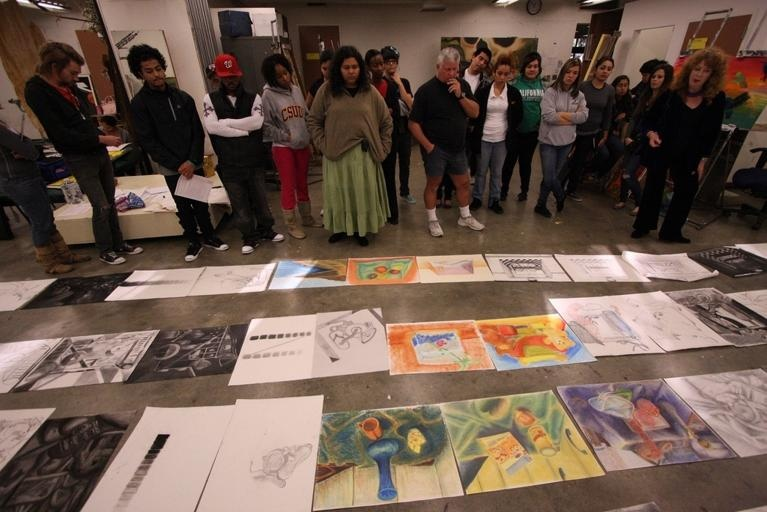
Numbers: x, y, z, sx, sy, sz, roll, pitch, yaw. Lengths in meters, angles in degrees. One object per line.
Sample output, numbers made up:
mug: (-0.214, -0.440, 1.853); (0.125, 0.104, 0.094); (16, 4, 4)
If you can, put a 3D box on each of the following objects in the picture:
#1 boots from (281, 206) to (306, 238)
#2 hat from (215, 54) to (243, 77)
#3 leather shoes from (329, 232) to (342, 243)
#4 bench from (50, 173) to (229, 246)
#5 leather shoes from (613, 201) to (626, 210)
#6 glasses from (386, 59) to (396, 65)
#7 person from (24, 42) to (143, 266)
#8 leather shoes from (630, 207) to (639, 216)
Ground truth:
boots: (-1.091, -0.401, 5.425); (0.344, 0.362, 0.186); (17, 48, 25)
hat: (-1.619, -1.980, 4.645); (0.228, 0.225, 0.292); (-7, 29, -10)
leather shoes: (-0.561, -0.234, 5.315); (0.195, 0.126, 0.070); (-19, 37, -34)
bench: (-2.968, -0.510, 5.680); (1.410, 0.299, 1.218); (-1, 28, -8)
leather shoes: (3.197, -0.693, 6.039); (0.255, 0.101, 0.082); (-8, 8, -33)
glasses: (0.091, -2.260, 5.181); (0.073, 0.023, 0.068); (-2, 48, 0)
person: (-3.102, -1.012, 4.687); (0.597, 2.224, 0.671); (-21, 35, -30)
leather shoes: (3.229, -0.581, 5.770); (0.100, 0.125, 0.327); (2, 19, 33)
